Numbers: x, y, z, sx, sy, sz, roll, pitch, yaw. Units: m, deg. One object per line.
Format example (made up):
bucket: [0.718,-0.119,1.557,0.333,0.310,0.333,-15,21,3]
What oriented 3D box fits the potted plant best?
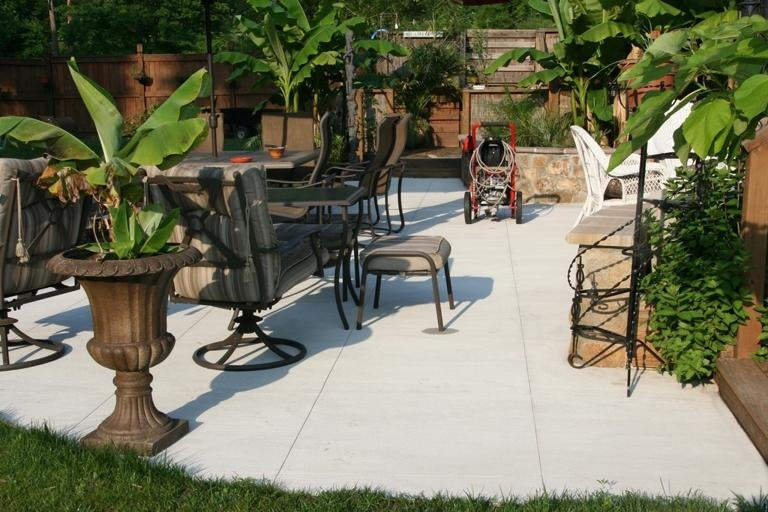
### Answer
potted plant: [-1.689,-0.056,4.680,1.226,2.378,1.248,-4,14,-12]

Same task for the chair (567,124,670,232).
chair: [2.746,-0.777,8.474,0.682,0.823,0.613,16,15,36]

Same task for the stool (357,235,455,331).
stool: [0.200,0.217,6.456,0.809,0.664,0.906,-2,10,3]

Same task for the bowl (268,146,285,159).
bowl: [-1.290,-1.250,8.909,0.182,0.108,0.184,0,13,0]
